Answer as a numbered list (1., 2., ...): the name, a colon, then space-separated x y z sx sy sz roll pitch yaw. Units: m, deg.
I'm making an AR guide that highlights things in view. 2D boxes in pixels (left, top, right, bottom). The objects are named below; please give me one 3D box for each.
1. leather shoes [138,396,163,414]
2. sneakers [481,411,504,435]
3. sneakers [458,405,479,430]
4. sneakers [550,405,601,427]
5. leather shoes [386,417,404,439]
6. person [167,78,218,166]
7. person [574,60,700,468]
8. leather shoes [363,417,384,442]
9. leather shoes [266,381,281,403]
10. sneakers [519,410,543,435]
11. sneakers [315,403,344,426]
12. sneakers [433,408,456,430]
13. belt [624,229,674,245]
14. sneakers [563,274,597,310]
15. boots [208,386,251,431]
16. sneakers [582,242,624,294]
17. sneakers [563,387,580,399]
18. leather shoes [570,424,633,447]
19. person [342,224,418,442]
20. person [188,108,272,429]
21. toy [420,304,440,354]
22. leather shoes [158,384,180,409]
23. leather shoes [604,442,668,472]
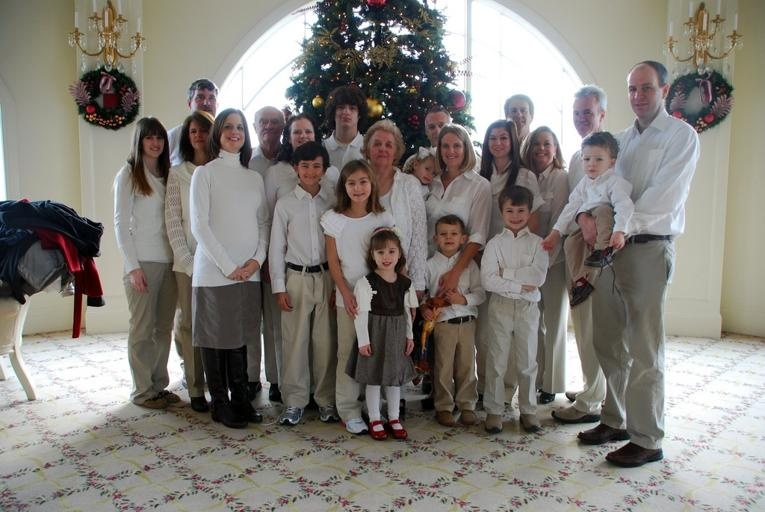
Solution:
1. leather shoes: -1.894 1.212 4.673 0.178 0.070 0.097 0 8 -26
2. sneakers: 0.847 1.261 4.349 0.135 0.139 0.092 -1 4 5
3. sneakers: 0.676 1.245 4.518 0.158 0.122 0.245 0 3 7
4. sneakers: 1.516 1.239 4.486 0.339 0.142 0.147 3 1 5
5. leather shoes: 0.104 1.290 4.318 0.069 0.071 0.179 -1 2 -12
6. person: -1.732 -1.159 5.358 0.599 0.942 0.425 -7 17 -26
7. person: 1.808 0.036 4.096 0.681 2.786 0.505 -2 4 -20
8. leather shoes: -0.046 1.287 4.321 0.146 0.138 0.194 -1 4 -2
9. leather shoes: -0.908 1.169 4.874 0.151 0.215 0.138 0 -12 0
10. sneakers: 1.138 1.262 4.406 0.163 0.139 0.171 0 4 13
11. sneakers: -0.405 1.236 4.473 0.167 0.178 0.417 0 3 -6
12. sneakers: 0.475 1.258 4.487 0.196 0.102 0.139 1 4 24
13. belt: 1.862 -0.124 3.992 0.295 0.073 0.072 -1 4 -2
14. sneakers: 1.487 0.284 4.381 0.108 0.145 0.317 -42 -9 -37
15. boots: -1.169 1.189 4.442 0.430 0.303 0.165 6 1 17
16. sneakers: 1.489 0.079 3.954 0.390 0.154 0.146 -40 19 -33
17. sneakers: 1.625 1.162 4.880 0.091 0.056 0.163 -1 -6 -7
18. leather shoes: 1.624 1.301 4.203 0.374 0.146 0.143 0 -6 -6
19. person: -0.002 0.573 4.315 0.553 1.555 0.331 -2 4 -13
20. person: -1.195 0.083 4.443 0.578 2.437 0.372 -2 4 -13
21. toy: 0.328 0.552 4.416 0.204 0.315 0.124 -15 16 -36
22. leather shoes: -1.788 1.182 4.788 0.182 0.077 0.085 3 6 35
23. leather shoes: 1.742 1.374 3.953 0.385 0.161 0.154 -1 -5 -9
